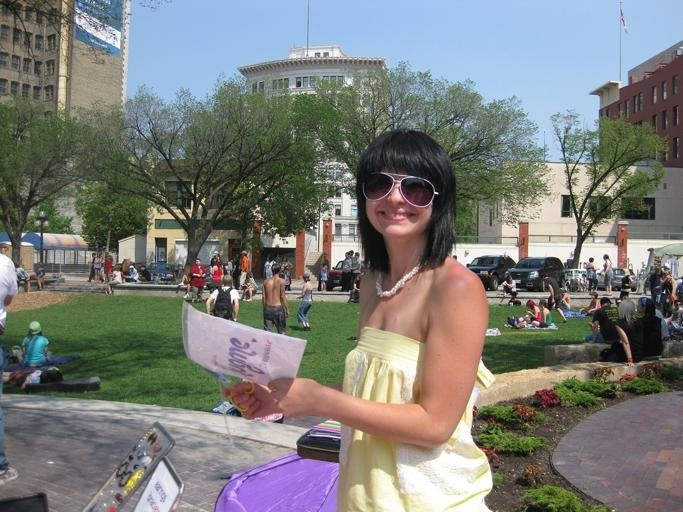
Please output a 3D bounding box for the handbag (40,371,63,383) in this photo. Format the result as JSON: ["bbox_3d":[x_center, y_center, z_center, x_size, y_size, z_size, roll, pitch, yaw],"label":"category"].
[{"bbox_3d":[-4.734,1.980,10.114,0.216,0.231,0.183,-13,2,-9],"label":"handbag"}]

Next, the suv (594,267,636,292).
[{"bbox_3d":[14.366,1.281,32.699,1.940,1.104,1.247,1,0,23],"label":"suv"}]

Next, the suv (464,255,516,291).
[{"bbox_3d":[6.213,0.634,25.008,1.478,1.546,3.149,-3,-5,30],"label":"suv"}]

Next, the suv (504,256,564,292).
[{"bbox_3d":[10.188,0.793,31.784,1.808,1.627,3.391,-4,-9,38],"label":"suv"}]

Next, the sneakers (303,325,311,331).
[{"bbox_3d":[-0.934,2.028,17.369,0.099,0.181,0.165,-7,-11,44],"label":"sneakers"}]
